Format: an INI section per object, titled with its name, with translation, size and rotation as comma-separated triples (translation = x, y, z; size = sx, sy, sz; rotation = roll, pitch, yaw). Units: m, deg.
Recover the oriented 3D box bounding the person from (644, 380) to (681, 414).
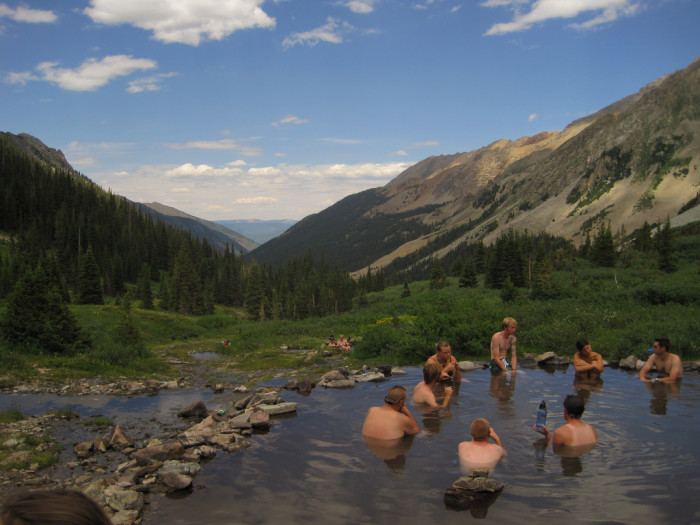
[person]
translation = 15.319, 6.507, 28.290
size = 1.286, 1.724, 0.618
rotation = 28, -4, -23
